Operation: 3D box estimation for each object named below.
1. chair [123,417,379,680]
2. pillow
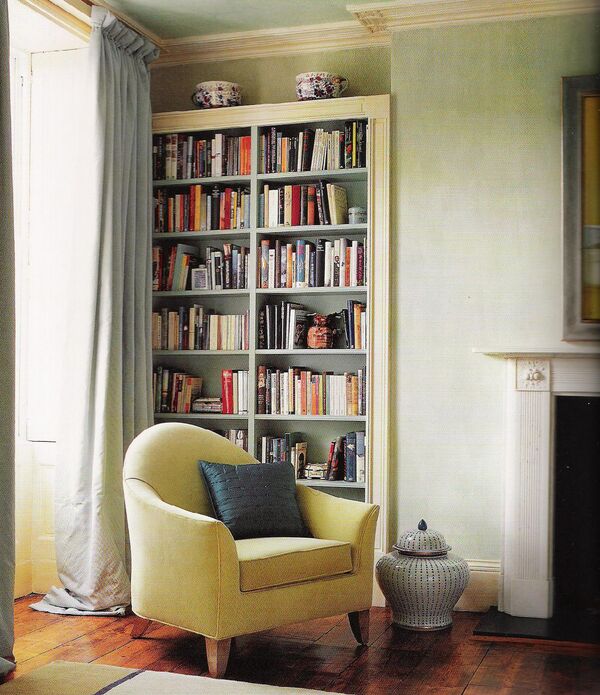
[{"bbox_3d":[-0.273,0.758,2.774,0.897,0.773,0.901,-1,-7,31],"label":"chair"},{"bbox_3d":[-0.211,0.575,2.891,0.383,0.099,0.381,2,11,10],"label":"pillow"}]
